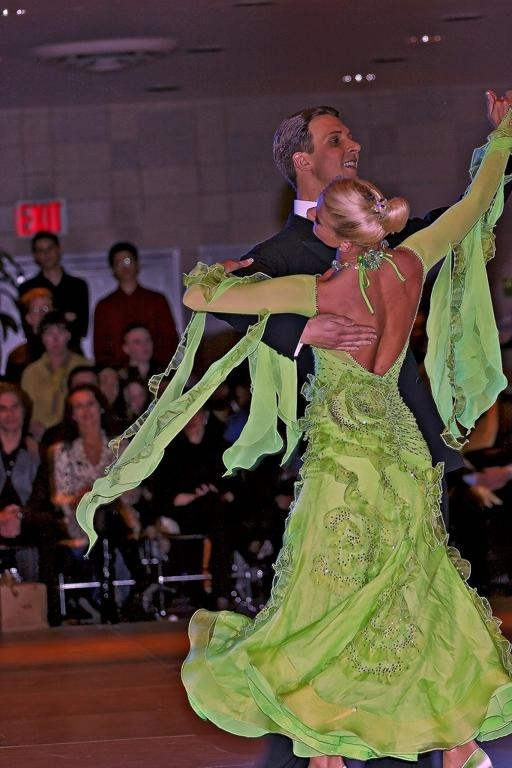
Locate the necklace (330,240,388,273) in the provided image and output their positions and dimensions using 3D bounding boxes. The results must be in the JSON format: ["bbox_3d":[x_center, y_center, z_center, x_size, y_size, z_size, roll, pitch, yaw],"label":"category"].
[{"bbox_3d":[0.213,-0.250,1.564,0.072,0.023,0.083,2,30,12],"label":"necklace"}]
